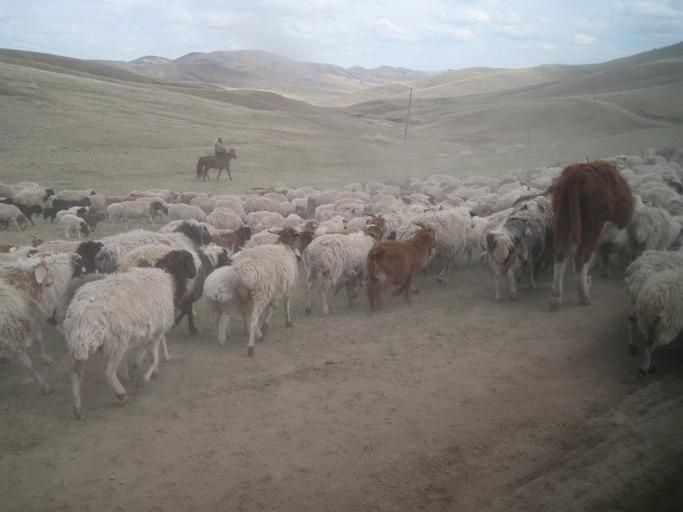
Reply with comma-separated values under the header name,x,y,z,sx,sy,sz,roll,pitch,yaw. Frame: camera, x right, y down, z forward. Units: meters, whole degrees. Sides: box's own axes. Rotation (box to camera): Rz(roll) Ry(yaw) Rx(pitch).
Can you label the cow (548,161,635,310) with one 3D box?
name,x,y,z,sx,sy,sz,roll,pitch,yaw
cow,4.360,-0.374,9.625,1.157,2.499,0.847,1,21,-3
